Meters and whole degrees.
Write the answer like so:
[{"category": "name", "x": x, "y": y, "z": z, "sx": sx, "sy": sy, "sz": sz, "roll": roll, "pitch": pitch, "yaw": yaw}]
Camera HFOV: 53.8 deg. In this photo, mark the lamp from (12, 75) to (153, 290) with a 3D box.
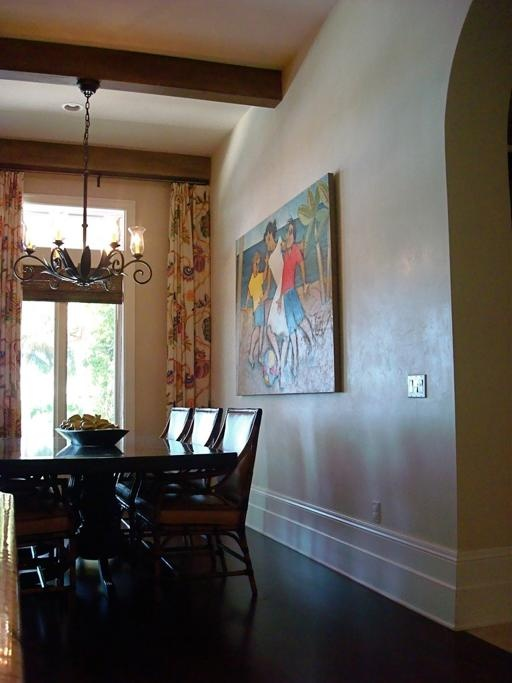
[{"category": "lamp", "x": -1.435, "y": -1.297, "z": 4.272, "sx": 0.777, "sy": 1.634, "sz": 0.905, "roll": -5, "pitch": 27, "yaw": -29}]
